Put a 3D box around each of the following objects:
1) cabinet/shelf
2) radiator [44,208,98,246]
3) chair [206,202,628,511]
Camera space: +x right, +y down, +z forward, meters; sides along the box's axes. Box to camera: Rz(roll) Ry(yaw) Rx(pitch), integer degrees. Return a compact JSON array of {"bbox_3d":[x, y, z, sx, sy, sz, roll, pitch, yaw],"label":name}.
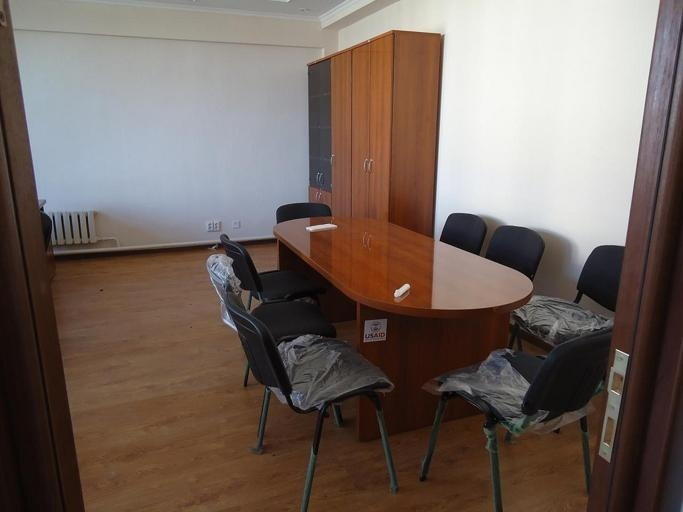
[{"bbox_3d":[0.358,-1.145,4.766,0.539,2.330,2.024,-4,13,-18],"label":"cabinet/shelf"},{"bbox_3d":[-3.031,-0.309,5.641,0.475,0.412,0.118,-5,15,-30],"label":"radiator"},{"bbox_3d":[0.403,0.342,3.132,2.163,0.984,1.779,13,17,35],"label":"chair"}]
